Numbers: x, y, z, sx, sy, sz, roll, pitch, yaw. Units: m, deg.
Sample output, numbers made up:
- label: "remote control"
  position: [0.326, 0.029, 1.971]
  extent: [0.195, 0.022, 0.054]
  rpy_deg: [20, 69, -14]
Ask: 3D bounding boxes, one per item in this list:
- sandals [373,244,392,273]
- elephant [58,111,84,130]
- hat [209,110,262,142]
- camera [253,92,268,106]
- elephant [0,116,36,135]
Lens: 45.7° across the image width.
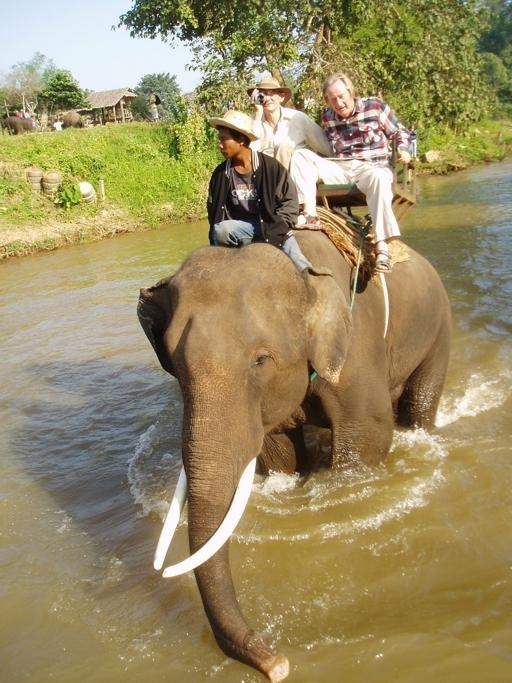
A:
- label: "sandals"
  position: [0.543, -0.363, 2.624]
  extent: [0.061, 0.044, 0.157]
  rpy_deg: [-4, 48, 9]
- label: "elephant"
  position: [-8.541, -10.281, 28.179]
  extent: [0.823, 0.868, 1.341]
  rpy_deg: [-9, 14, -18]
- label: "hat"
  position: [-0.068, -0.831, 2.261]
  extent: [0.130, 0.043, 0.145]
  rpy_deg: [3, -20, 44]
- label: "camera"
  position: [0.028, -1.456, 3.651]
  extent: [0.059, 0.060, 0.055]
  rpy_deg: [-45, 14, 16]
- label: "elephant"
  position: [-10.838, -9.852, 27.738]
  extent: [1.184, 0.778, 1.059]
  rpy_deg: [-10, 14, -23]
